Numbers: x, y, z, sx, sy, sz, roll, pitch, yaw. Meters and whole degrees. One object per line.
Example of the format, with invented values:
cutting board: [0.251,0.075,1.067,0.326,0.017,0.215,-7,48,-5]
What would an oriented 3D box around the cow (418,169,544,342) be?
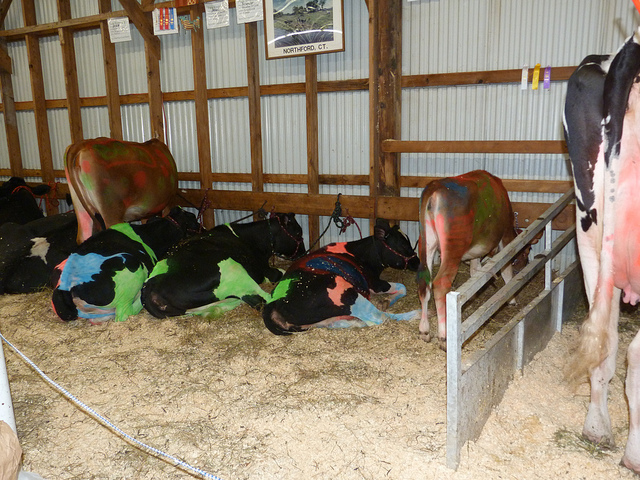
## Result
cow: [1.432,0.027,4.670,0.560,1.416,2.260,3,7,40]

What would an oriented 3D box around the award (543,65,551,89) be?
award: [2.306,-1.638,5.228,0.062,0.229,0.185,3,21,23]

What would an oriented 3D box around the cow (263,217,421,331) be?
cow: [0.232,0.360,4.593,1.211,0.545,0.934,-17,26,-29]

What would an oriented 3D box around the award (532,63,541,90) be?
award: [2.185,-1.645,5.199,0.063,0.226,0.198,3,21,22]

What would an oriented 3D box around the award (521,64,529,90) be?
award: [2.115,-1.667,5.312,0.068,0.249,0.191,3,21,21]

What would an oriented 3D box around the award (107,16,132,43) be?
award: [-2.588,-2.690,6.594,0.366,0.275,0.113,3,20,22]

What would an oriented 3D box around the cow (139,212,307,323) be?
cow: [-0.849,0.204,4.965,0.925,0.521,1.337,17,31,35]
